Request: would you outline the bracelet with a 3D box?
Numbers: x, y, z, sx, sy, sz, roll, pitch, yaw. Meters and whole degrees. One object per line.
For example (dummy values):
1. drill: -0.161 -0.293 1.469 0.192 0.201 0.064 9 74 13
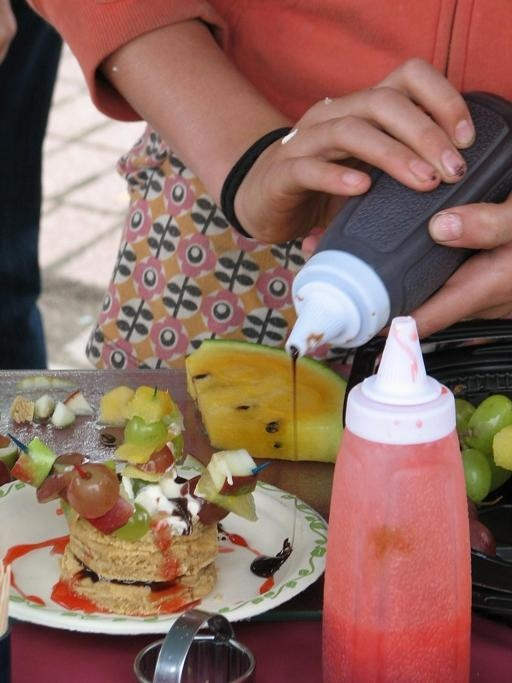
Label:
1. bracelet: -0.008 -0.186 0.789 0.063 0.112 0.076 -12 24 -21
